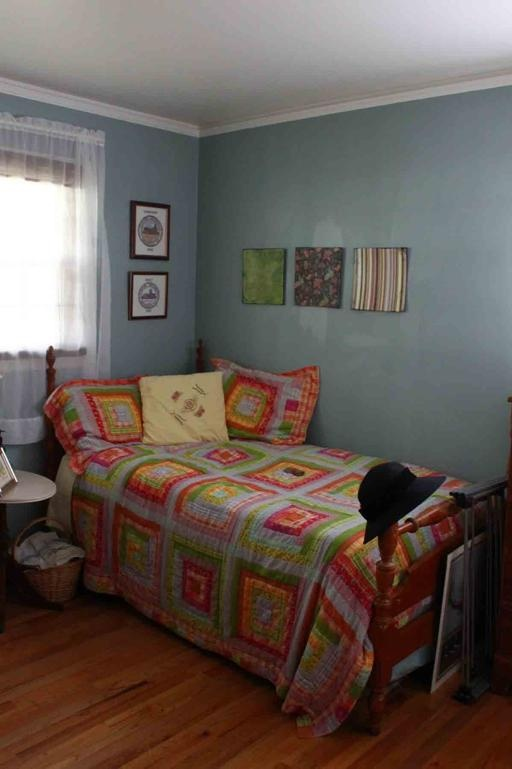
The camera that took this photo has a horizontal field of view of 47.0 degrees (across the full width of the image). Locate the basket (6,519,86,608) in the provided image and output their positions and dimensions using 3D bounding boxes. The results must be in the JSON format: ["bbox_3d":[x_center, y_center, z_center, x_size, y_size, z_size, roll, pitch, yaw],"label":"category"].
[{"bbox_3d":[-0.999,0.803,2.774,0.357,0.358,0.283,15,16,34],"label":"basket"}]

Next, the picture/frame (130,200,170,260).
[{"bbox_3d":[-0.644,-0.937,3.538,0.043,0.411,0.378,3,6,37],"label":"picture/frame"}]

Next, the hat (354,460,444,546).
[{"bbox_3d":[0.409,0.335,1.685,0.206,0.213,0.242,2,1,28],"label":"hat"}]

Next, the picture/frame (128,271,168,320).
[{"bbox_3d":[-0.653,-0.540,3.598,0.021,0.286,0.292,13,14,40],"label":"picture/frame"}]
